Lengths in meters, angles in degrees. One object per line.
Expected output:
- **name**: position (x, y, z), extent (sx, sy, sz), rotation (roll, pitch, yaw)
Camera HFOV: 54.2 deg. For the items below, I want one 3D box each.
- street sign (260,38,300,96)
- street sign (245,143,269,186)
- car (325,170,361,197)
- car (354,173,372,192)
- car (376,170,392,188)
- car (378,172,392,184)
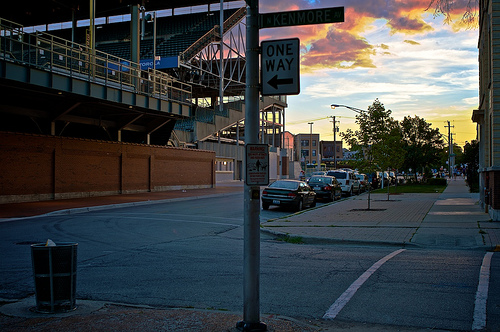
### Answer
- **street sign**: position (0.574, -1.956, 9.680), extent (0.799, 1.145, 0.297), rotation (-2, -2, 2)
- **street sign**: position (0.137, -0.033, 9.452), extent (0.458, 0.836, 0.184), rotation (-2, -2, 1)
- **car**: position (7.812, 1.325, 40.734), extent (1.579, 1.324, 3.309), rotation (0, 2, 25)
- **car**: position (10.969, 1.551, 47.649), extent (1.655, 1.270, 3.900), rotation (0, 3, 21)
- **car**: position (14.841, 1.518, 54.941), extent (1.748, 1.433, 3.007), rotation (2, 8, 20)
- **car**: position (15.315, 1.389, 56.431), extent (1.409, 1.161, 2.312), rotation (1, 5, 12)
